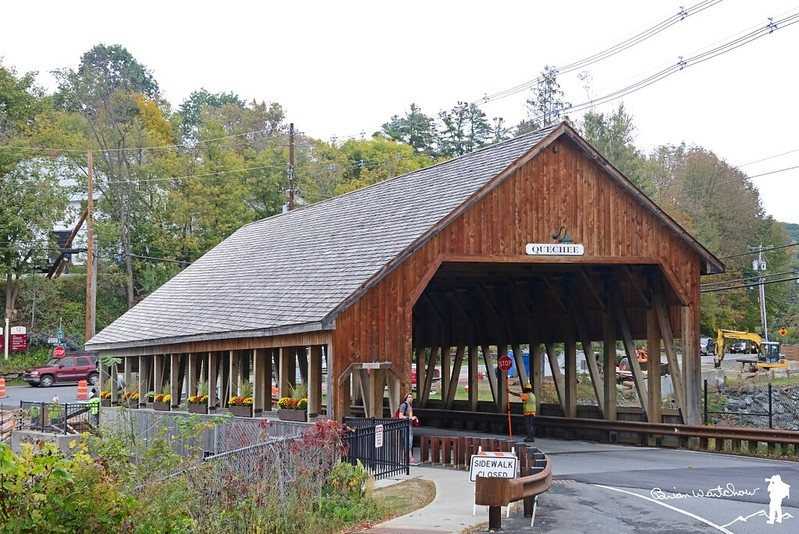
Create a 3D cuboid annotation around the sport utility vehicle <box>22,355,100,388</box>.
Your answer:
[{"bbox_3d":[-20.745,6.373,55.656,4.070,1.777,2.018,4,-6,-28],"label":"sport utility vehicle"}]

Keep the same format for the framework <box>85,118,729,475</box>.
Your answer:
[{"bbox_3d":[-1.474,1.578,40.323,13.840,7.698,22.026,2,-10,-28],"label":"framework"}]
